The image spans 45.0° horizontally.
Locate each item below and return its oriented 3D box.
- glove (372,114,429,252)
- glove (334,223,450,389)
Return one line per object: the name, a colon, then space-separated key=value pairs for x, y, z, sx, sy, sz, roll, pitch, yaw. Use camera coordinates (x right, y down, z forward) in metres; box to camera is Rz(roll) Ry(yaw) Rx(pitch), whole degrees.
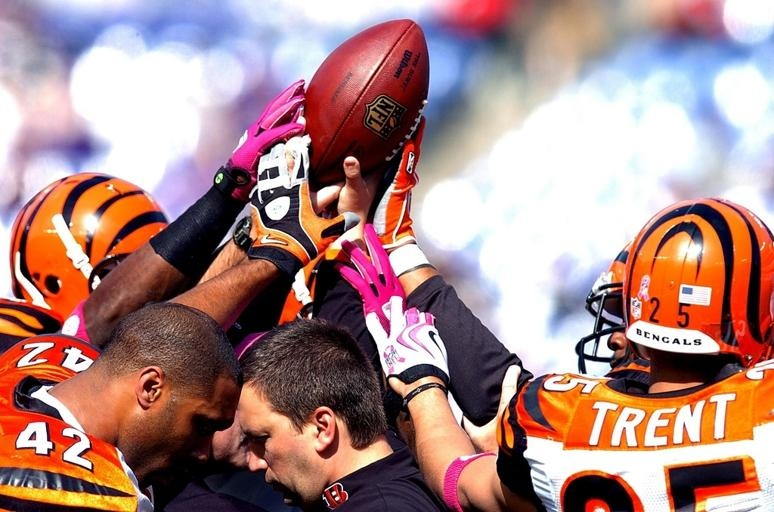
glove: x=0.054 y=-0.446 z=6.137 sx=0.267 sy=0.949 sz=0.282 roll=26 pitch=29 yaw=28
glove: x=0.029 y=0.337 z=5.526 sx=0.552 sy=0.926 sz=0.388 roll=-39 pitch=-41 yaw=11
